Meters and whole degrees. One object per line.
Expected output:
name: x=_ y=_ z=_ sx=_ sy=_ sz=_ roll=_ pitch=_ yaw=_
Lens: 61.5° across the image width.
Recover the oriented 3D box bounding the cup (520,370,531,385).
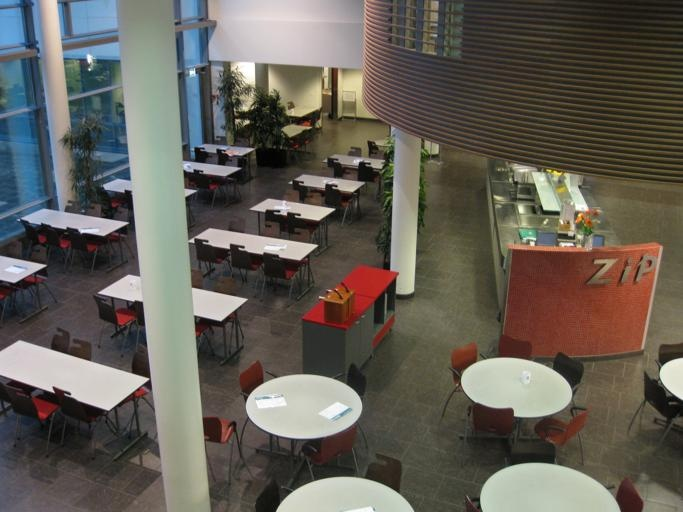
cup: x=2.354 y=1.545 z=7.361 sx=0.157 sy=0.161 sz=0.123 roll=13 pitch=24 yaw=31
